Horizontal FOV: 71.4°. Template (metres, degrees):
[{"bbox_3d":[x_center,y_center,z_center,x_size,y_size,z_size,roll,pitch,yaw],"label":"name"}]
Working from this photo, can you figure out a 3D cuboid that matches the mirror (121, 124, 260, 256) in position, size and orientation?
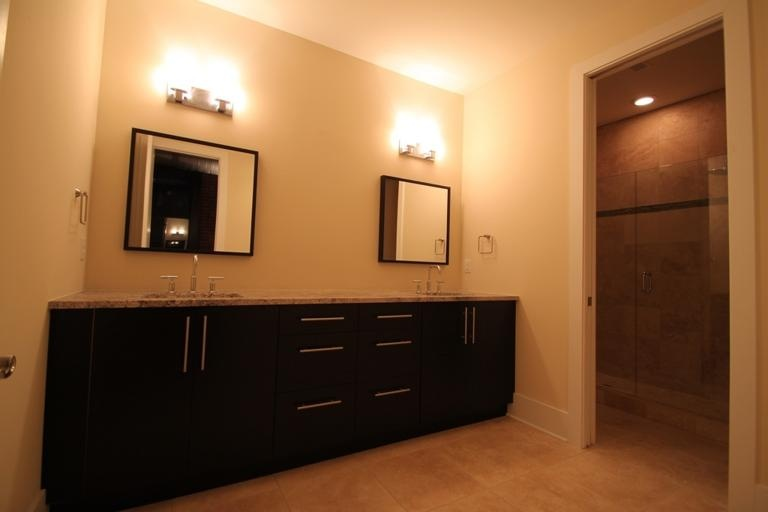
[{"bbox_3d":[-1.583,-0.509,4.233,0.998,0.999,0.071,3,-3,-30],"label":"mirror"}]

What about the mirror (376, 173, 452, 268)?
[{"bbox_3d":[0.304,-0.319,5.175,0.795,0.794,0.089,4,-3,-31],"label":"mirror"}]

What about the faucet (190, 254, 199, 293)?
[{"bbox_3d":[-1.485,0.124,4.178,0.078,0.311,0.244,-4,15,-19],"label":"faucet"}]

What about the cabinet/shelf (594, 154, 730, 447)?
[{"bbox_3d":[2.514,0.282,4.746,0.550,2.304,1.397,-11,19,-39],"label":"cabinet/shelf"}]
